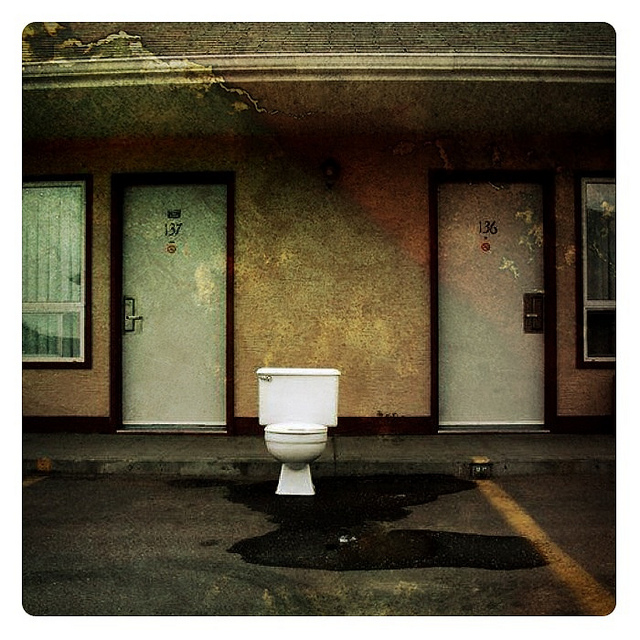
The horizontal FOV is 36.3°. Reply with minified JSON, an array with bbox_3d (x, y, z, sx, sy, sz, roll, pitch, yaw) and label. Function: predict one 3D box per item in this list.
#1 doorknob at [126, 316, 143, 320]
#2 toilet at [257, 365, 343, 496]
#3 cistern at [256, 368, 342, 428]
[{"bbox_3d":[-2.242,-0.022,11.813,0.186,0.038,0.031,1,13,8],"label":"doorknob"},{"bbox_3d":[-0.205,1.082,9.481,0.775,1.196,0.848,-1,13,-2],"label":"toilet"},{"bbox_3d":[-0.222,0.732,9.431,0.366,0.598,0.633,0,-2,-2],"label":"cistern"}]
